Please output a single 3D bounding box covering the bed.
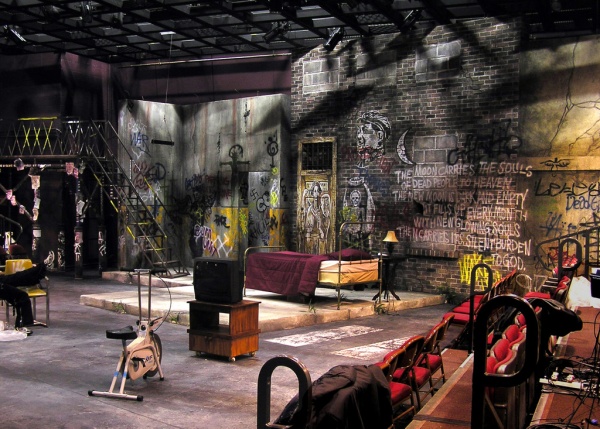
[{"bbox_3d":[0.223,1.321,13.174,2.726,1.868,1.997,3,2,40],"label":"bed"}]

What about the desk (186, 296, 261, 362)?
[{"bbox_3d":[-1.395,2.057,9.500,1.082,0.979,0.750,-1,-2,36],"label":"desk"}]

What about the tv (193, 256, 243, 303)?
[{"bbox_3d":[-1.430,1.118,9.318,0.813,0.782,0.564,2,6,23],"label":"tv"}]

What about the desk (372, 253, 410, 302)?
[{"bbox_3d":[2.277,1.689,13.668,0.971,1.120,0.956,15,-12,-23],"label":"desk"}]

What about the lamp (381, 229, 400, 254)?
[{"bbox_3d":[2.468,0.714,14.241,0.542,0.758,0.509,4,9,34],"label":"lamp"}]

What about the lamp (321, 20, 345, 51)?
[{"bbox_3d":[0.954,-5.347,15.751,0.418,0.550,0.854,24,10,-2],"label":"lamp"}]

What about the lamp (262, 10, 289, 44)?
[{"bbox_3d":[-0.630,-5.455,15.448,0.800,0.521,0.579,3,2,40],"label":"lamp"}]
